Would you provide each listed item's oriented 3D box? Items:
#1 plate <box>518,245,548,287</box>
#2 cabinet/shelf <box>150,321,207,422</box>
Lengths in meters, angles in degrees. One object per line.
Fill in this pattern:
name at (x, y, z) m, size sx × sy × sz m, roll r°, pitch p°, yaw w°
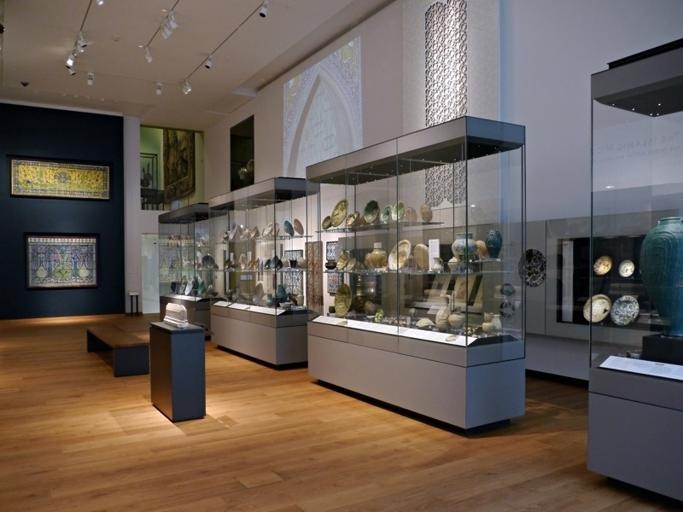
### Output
plate at (2.458, 0.127, 6.294) m, size 0.040 × 0.625 × 0.465 m, roll -2°, pitch -5°, yaw -34°
cabinet/shelf at (-1.903, 1.378, 5.767) m, size 0.421 × 1.302 × 1.015 m, roll -1°, pitch 1°, yaw -31°
